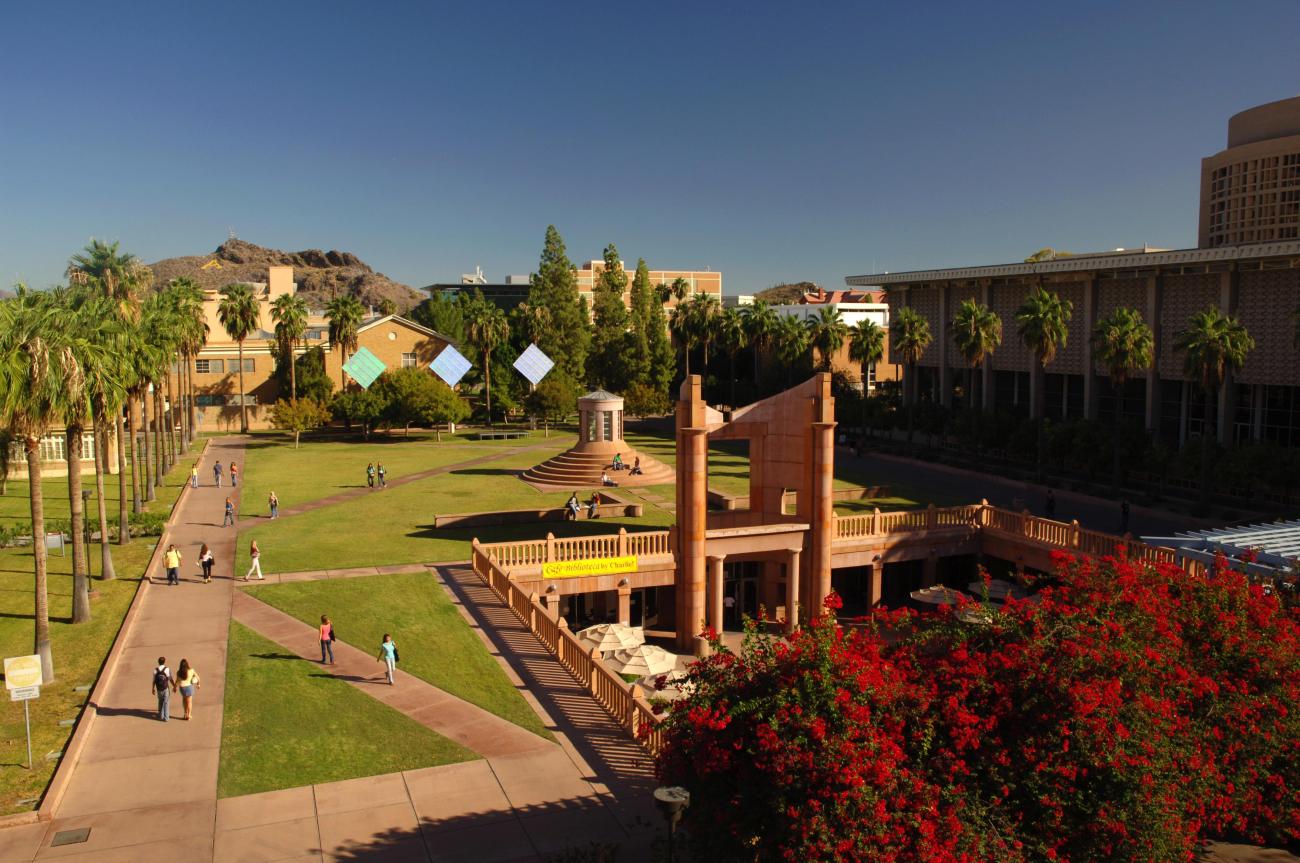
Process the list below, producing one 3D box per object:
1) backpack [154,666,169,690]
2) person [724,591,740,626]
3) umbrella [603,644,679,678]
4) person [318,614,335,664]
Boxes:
[{"bbox_3d":[-17.567,8.820,36.013,0.477,1.025,0.863,-5,14,-23],"label":"backpack"},{"bbox_3d":[4.499,9.630,54.777,0.861,1.645,0.769,1,13,1],"label":"person"},{"bbox_3d":[-0.419,9.218,40.735,1.584,0.731,1.685,9,19,33],"label":"umbrella"},{"bbox_3d":[-13.188,8.262,40.736,0.488,2.023,1.400,-4,14,-20],"label":"person"}]
